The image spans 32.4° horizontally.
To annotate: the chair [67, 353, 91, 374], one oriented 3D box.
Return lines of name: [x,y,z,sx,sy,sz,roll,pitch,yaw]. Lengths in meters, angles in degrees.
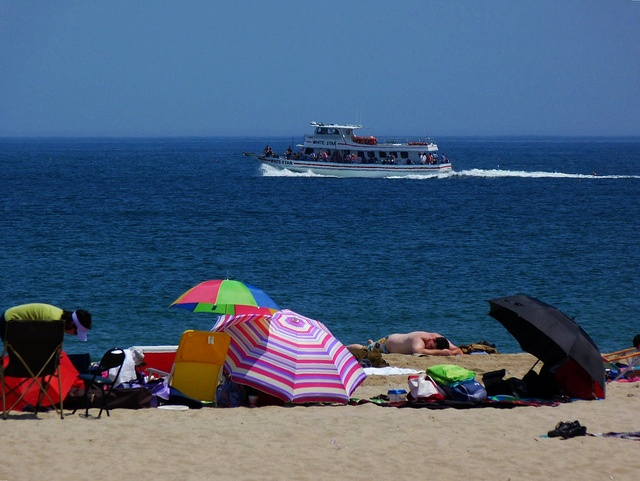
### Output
chair: [-7.227,3.750,33.624,0.653,0.573,0.608,2,2,45]

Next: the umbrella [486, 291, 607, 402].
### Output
umbrella: [7.067,3.265,34.134,2.838,3.275,2.884,2,10,-8]

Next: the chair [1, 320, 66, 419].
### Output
chair: [-8.374,3.660,32.533,1.779,2.774,1.890,-7,17,-33]
